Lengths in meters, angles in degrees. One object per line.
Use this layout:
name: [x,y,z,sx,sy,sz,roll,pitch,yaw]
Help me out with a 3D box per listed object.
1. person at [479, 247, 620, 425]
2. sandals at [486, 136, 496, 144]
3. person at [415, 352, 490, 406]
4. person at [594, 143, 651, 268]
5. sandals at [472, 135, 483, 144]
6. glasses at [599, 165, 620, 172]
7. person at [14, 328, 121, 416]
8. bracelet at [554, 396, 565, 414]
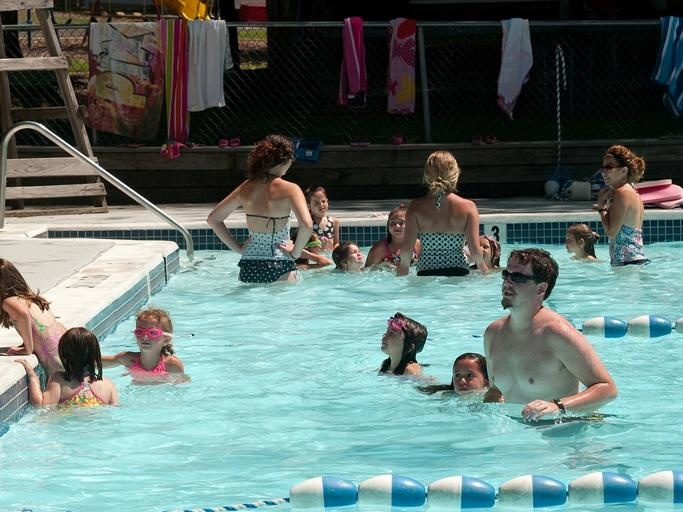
person: [1.123,0.499,4.824,0.609,1.014,1.027,7,-7,-30]
sandals: [2.367,-1.819,12.877,0.126,0.093,0.125,1,9,0]
person: [0.856,0.782,5.419,0.744,0.271,0.264,1,1,26]
person: [2.984,-0.504,8.596,0.548,1.308,0.649,5,15,20]
sandals: [2.149,-1.817,12.823,0.133,0.126,0.133,1,7,4]
glasses: [2.736,-0.883,8.322,0.058,0.070,0.187,-10,17,-35]
person: [-1.779,0.765,5.230,0.483,0.819,0.301,-2,19,-27]
bracelet: [1.205,0.826,4.495,0.053,0.074,0.080,-19,12,-36]
